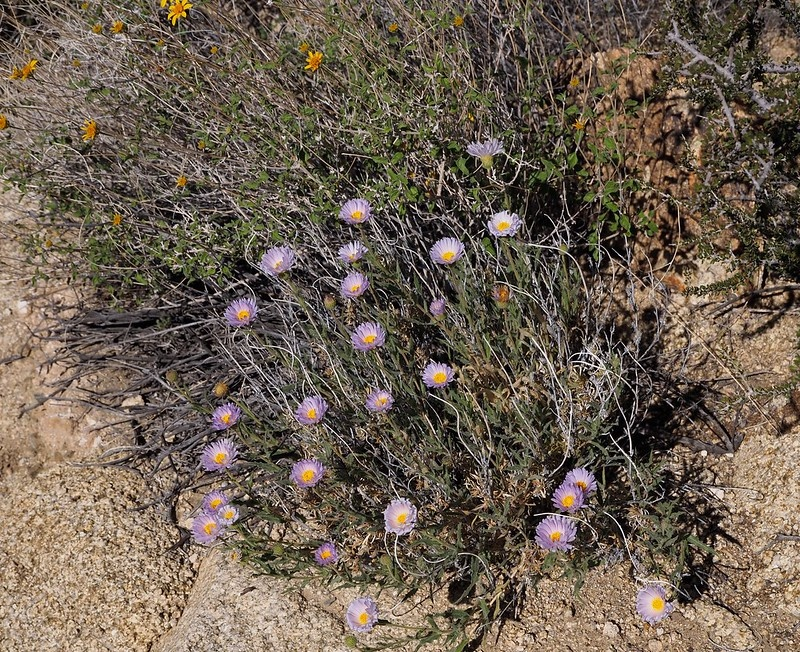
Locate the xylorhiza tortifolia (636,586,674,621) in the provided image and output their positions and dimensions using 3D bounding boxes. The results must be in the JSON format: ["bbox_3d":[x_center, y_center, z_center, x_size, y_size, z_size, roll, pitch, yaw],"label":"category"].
[{"bbox_3d":[0.960,1.060,2.851,0.126,0.079,0.121,-18,62,7],"label":"xylorhiza tortifolia"}]
